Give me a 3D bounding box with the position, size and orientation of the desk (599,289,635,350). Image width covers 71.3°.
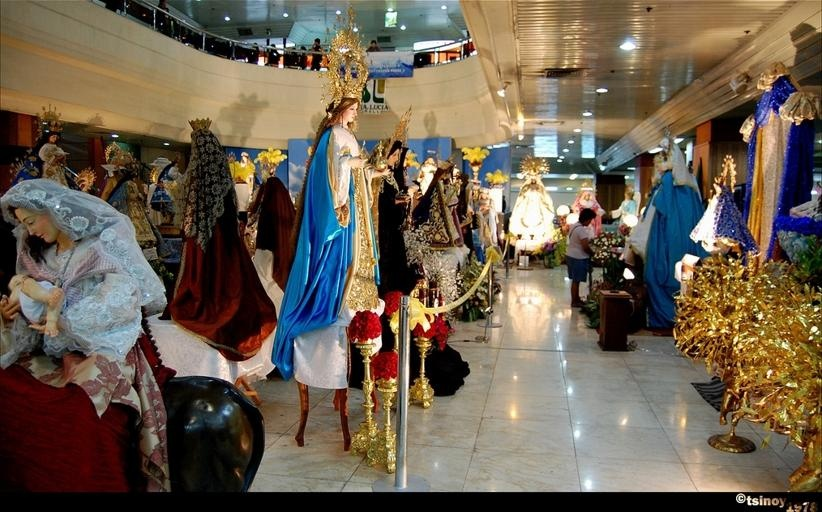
[{"bbox_3d":[2.672,0.843,7.532,0.368,0.710,0.458,3,12,16],"label":"desk"}]

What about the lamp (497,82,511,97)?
[{"bbox_3d":[1.779,-3.220,11.083,0.152,0.165,0.269,-9,14,19],"label":"lamp"}]
